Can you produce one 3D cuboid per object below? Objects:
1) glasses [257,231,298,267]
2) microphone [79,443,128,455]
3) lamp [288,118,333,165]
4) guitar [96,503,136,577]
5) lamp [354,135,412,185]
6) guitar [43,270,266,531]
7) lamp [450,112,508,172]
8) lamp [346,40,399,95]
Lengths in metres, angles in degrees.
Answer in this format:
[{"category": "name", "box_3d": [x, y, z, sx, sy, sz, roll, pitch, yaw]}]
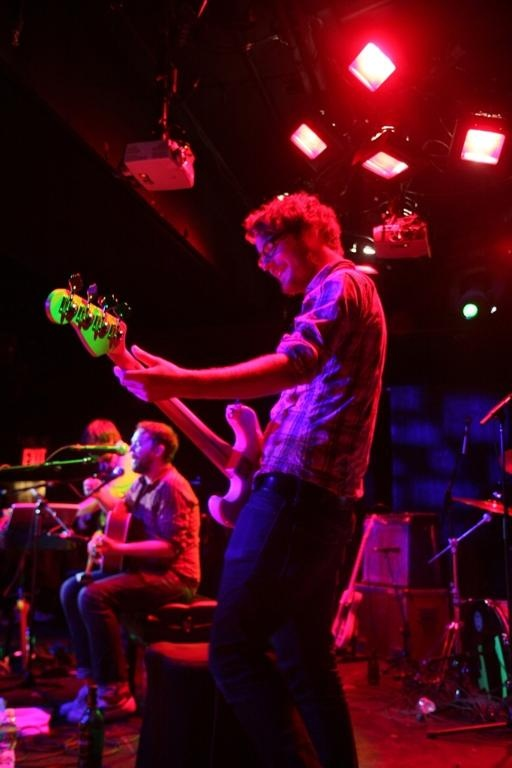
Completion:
[{"category": "glasses", "box_3d": [0.054, -0.431, 2.134, 0.066, 0.129, 0.019, 19, 26, 9]}, {"category": "microphone", "box_3d": [-0.891, 0.394, 3.943, 0.336, 0.083, 0.106, -3, -3, 1]}, {"category": "lamp", "box_3d": [0.392, -1.789, 4.877, 0.196, 0.136, 0.297, -7, -16, 44]}, {"category": "guitar", "box_3d": [-0.818, 0.927, 3.871, 0.158, 0.460, 0.328, 6, -33, 8]}, {"category": "lamp", "box_3d": [0.959, -1.670, 4.938, 0.371, 0.118, 0.524, -2, -12, 26]}, {"category": "guitar", "box_3d": [-0.776, 0.031, 4.731, 0.453, 0.980, 2.860, -4, -24, 17]}, {"category": "lamp", "box_3d": [1.581, -1.740, 4.667, 0.325, 0.318, 0.320, 18, -23, 18]}, {"category": "lamp", "box_3d": [0.744, -2.031, 4.221, 0.300, 0.106, 0.237, 13, -15, -39]}]
